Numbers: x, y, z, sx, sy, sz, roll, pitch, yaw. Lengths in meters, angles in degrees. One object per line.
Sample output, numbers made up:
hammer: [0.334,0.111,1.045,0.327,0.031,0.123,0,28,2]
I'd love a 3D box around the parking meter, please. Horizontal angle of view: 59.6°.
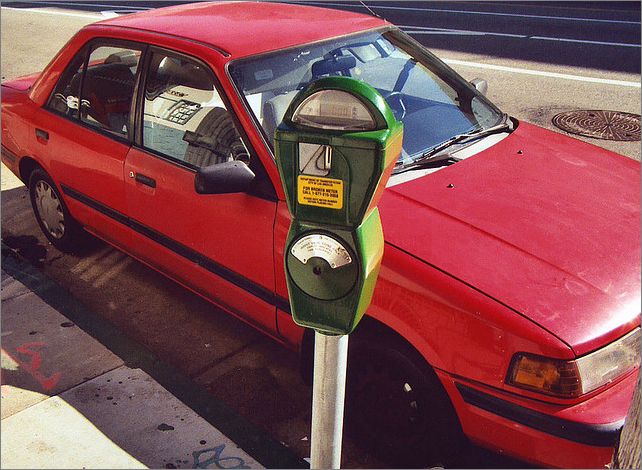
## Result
parking meter: [0.012,-0.083,1.954,0.381,0.834,0.321,5,31,-2]
